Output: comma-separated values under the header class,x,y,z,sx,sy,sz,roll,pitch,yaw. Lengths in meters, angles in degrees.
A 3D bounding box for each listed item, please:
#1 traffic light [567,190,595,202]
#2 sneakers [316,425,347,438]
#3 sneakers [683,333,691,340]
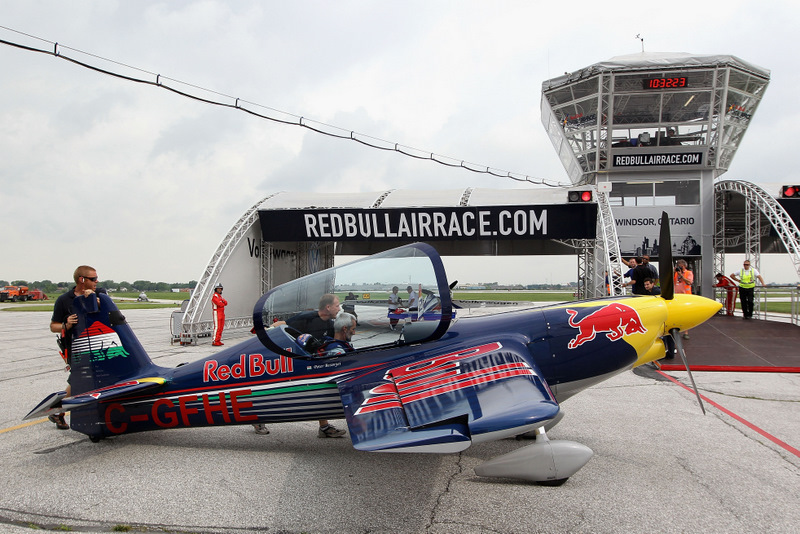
class,x,y,z,sx,sy,sz,roll,pitch,yaw
traffic light,5.386,-2.109,17.458,0.764,0.353,0.311,0,11,3
sneakers,-0.969,2.433,8.603,0.440,0.167,0.162,0,5,-2
sneakers,7.407,1.833,15.216,0.120,0.117,0.313,-7,-9,17
